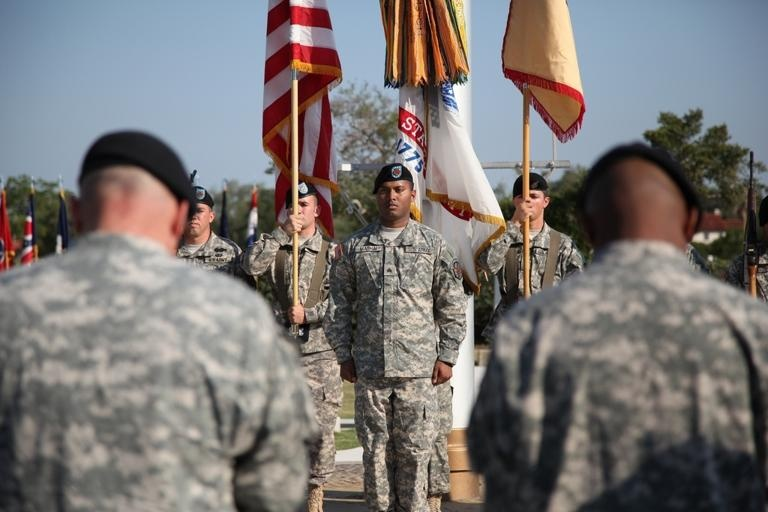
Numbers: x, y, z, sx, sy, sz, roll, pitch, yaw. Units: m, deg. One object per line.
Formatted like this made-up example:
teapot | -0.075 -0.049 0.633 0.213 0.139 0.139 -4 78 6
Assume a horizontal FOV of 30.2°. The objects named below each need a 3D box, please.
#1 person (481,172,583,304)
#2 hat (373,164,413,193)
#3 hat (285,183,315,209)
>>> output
person | 1.131 -0.025 11.007 0.837 1.207 0.656 1 -5 1
hat | 0.070 -0.534 10.321 0.177 0.144 0.251 -2 -3 10
hat | -0.693 -0.460 11.401 0.167 0.134 0.234 1 -46 -2
